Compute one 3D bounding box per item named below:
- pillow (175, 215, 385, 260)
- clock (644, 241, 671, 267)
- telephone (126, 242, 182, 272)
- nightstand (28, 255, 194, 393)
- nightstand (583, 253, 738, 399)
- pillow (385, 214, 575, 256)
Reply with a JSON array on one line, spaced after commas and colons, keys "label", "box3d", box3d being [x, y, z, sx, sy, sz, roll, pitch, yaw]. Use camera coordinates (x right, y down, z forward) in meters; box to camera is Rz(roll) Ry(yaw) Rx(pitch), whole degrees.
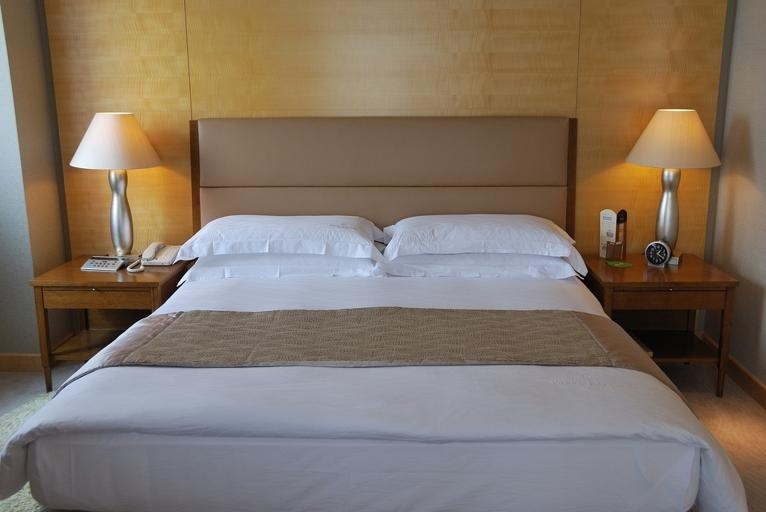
[{"label": "pillow", "box3d": [-0.634, -0.119, 3.828, 0.818, 0.146, 0.505, 0, 14, 0]}, {"label": "clock", "box3d": [1.795, -0.007, 3.947, 0.167, 0.175, 0.104, -3, 8, 34]}, {"label": "telephone", "box3d": [-1.500, 0.008, 3.998, 0.250, 0.069, 0.229, -1, 28, 2]}, {"label": "nightstand", "box3d": [-1.808, 0.340, 4.224, 1.099, 0.924, 0.885, 0, 10, 1]}, {"label": "nightstand", "box3d": [1.769, 0.353, 4.160, 1.076, 0.913, 0.875, 0, 17, 3]}, {"label": "pillow", "box3d": [0.582, -0.131, 3.797, 0.798, 0.144, 0.449, -1, 20, 0]}]
